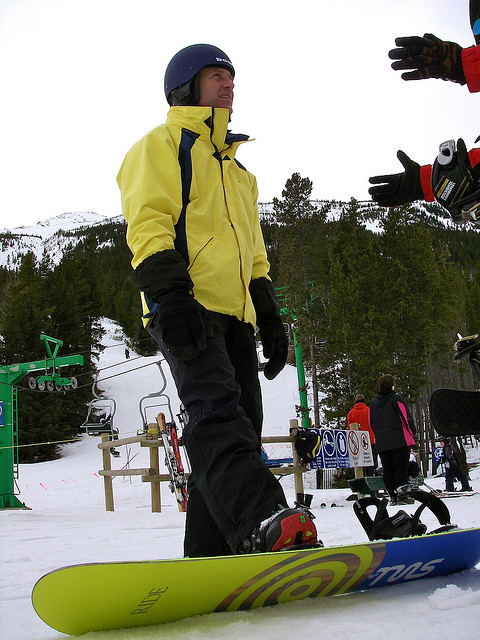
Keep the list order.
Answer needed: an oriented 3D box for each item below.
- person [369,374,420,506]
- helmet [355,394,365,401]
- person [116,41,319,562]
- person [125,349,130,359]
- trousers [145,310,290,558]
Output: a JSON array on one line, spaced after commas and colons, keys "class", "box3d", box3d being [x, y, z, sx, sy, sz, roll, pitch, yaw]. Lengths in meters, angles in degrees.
[{"class": "person", "box3d": [1.627, 1.204, 5.680, 0.463, 1.212, 0.797, -6, -5, 13]}, {"class": "helmet", "box3d": [2.090, 1.341, 9.358, 0.136, 0.118, 0.202, -6, -5, -9]}, {"class": "person", "box3d": [-0.054, -0.075, 1.945, 0.634, 2.167, 0.639, -9, -19, 13]}, {"class": "person", "box3d": [-8.826, 2.677, 42.380, 0.289, 1.035, 0.407, -7, 34, -13]}, {"class": "trousers", "box3d": [-0.085, 0.339, 1.677, 0.382, 0.793, 0.607, -5, -5, -5]}]
